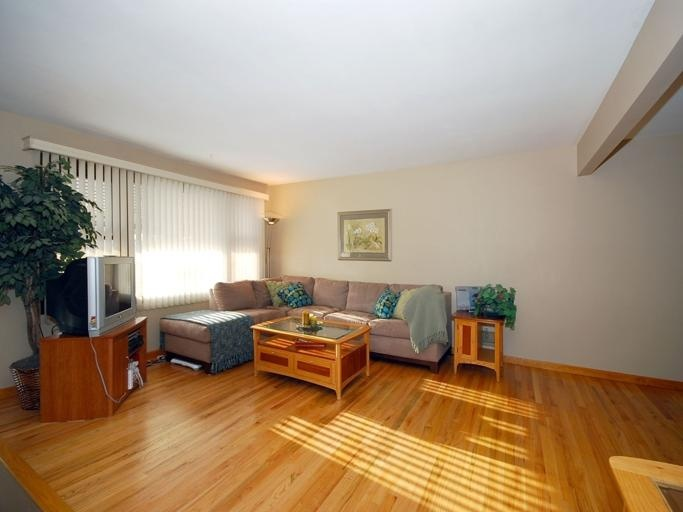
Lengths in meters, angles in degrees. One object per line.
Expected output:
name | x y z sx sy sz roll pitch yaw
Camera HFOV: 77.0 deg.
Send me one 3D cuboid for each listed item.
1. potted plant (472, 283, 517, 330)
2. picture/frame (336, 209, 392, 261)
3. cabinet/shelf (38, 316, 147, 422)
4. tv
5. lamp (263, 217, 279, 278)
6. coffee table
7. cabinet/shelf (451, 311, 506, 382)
potted plant | 1.913 0.604 5.296 0.519 0.389 0.534 0 -2 30
picture/frame | 0.389 -0.341 6.684 0.782 0.712 0.062 -1 -1 30
cabinet/shelf | -2.758 1.197 4.725 0.611 0.870 1.185 -1 1 -21
tv | -2.722 0.395 4.610 0.671 0.873 0.903 1 3 -10
lamp | -1.249 -0.131 7.676 0.268 1.023 0.138 -1 1 -11
coffee table | -0.340 1.156 5.090 1.241 0.714 0.750 -1 1 28
cabinet/shelf | 1.700 1.052 5.346 0.606 0.739 0.503 0 8 10
